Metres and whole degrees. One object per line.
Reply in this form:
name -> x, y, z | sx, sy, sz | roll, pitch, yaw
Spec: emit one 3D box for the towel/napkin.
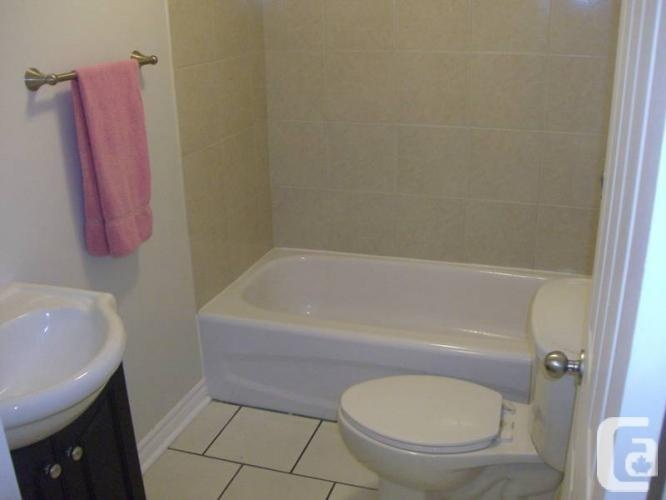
towel/napkin -> -0.728, -0.308, 1.936 | 0.128, 0.621, 0.301 | 8, 21, 29
